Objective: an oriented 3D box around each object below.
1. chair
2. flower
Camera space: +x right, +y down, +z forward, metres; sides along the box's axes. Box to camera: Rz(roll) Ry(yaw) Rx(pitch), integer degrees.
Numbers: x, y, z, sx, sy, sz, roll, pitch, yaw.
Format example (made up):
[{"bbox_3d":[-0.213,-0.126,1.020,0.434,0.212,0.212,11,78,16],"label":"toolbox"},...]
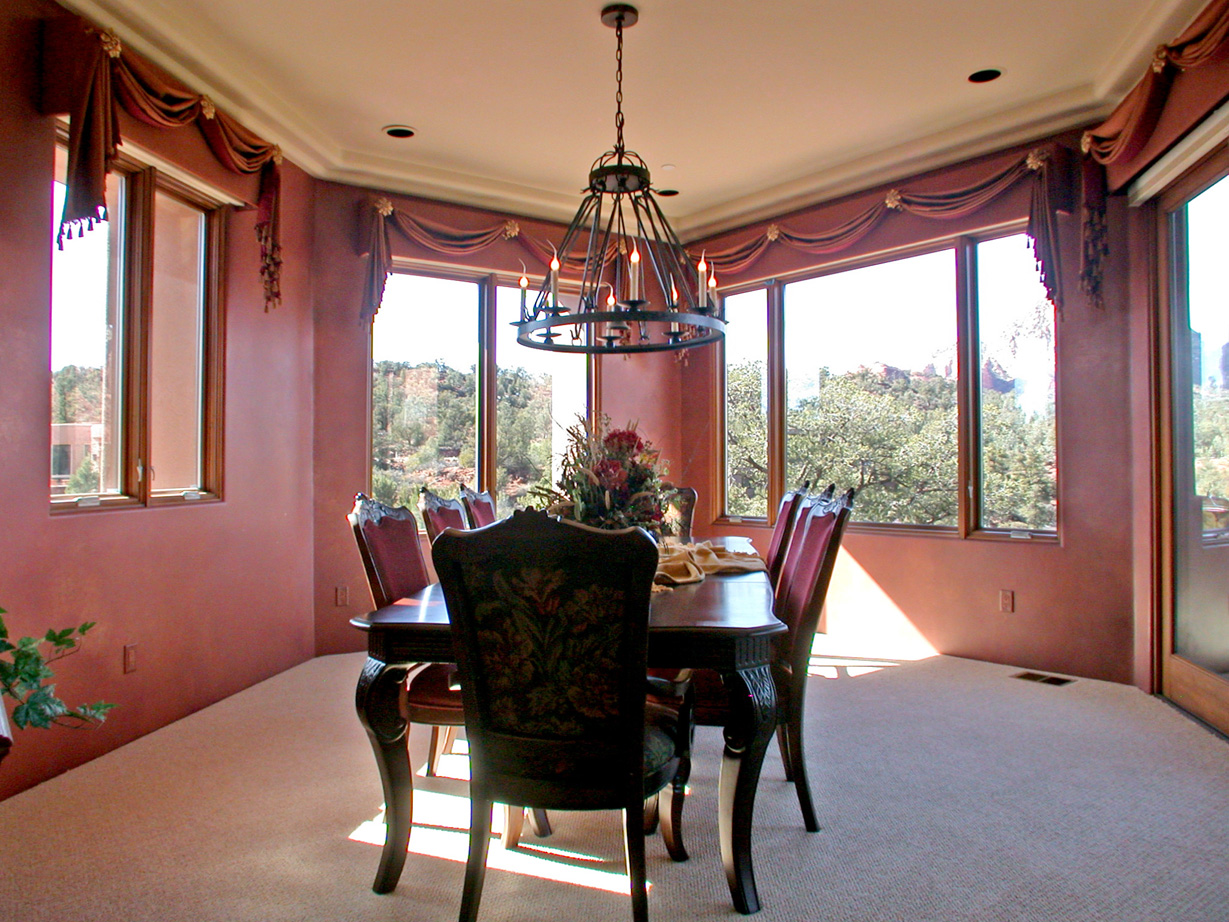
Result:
[{"bbox_3d":[0.016,0.834,3.846,1.829,1.413,1.065,0,10,2],"label":"chair"},{"bbox_3d":[-0.058,0.097,4.231,0.555,0.583,0.507,12,-2,-9],"label":"flower"}]
